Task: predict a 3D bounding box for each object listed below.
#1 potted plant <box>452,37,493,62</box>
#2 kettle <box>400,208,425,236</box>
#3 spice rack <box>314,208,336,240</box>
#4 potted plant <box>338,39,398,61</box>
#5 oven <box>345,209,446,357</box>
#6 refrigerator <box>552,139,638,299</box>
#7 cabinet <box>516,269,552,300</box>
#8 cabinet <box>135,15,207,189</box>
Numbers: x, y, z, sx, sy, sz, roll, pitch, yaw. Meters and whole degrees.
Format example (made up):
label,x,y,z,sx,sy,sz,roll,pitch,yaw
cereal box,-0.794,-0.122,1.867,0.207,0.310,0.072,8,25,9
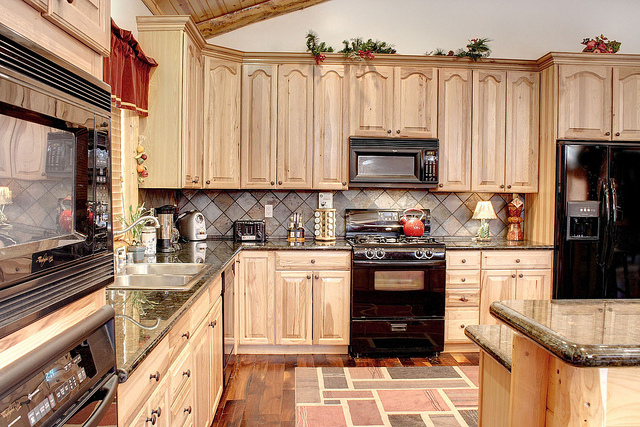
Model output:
label,x,y,z,sx,sy,sz,roll,pitch,yaw
potted plant,1.383,-1.481,4.211,0.320,0.142,0.302,-3,1,-45
kettle,0.875,0.085,4.392,0.225,0.252,0.322,0,2,12
spice rack,0.058,0.101,4.410,0.234,0.284,0.244,1,2,35
potted plant,0.428,-1.465,4.127,0.517,0.191,0.183,-2,2,-24
oven,0.673,0.609,4.183,0.831,1.276,0.637,-1,2,2
refrigerator,2.371,0.047,3.990,0.658,1.404,0.225,0,2,25
cabinet,1.860,0.655,4.147,0.318,0.301,0.207,-2,4,5
cabinet,-1.185,-0.877,3.724,0.449,1.349,0.543,-1,2,-1
